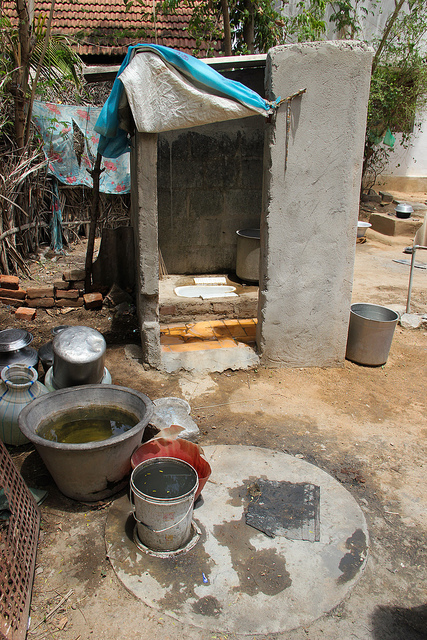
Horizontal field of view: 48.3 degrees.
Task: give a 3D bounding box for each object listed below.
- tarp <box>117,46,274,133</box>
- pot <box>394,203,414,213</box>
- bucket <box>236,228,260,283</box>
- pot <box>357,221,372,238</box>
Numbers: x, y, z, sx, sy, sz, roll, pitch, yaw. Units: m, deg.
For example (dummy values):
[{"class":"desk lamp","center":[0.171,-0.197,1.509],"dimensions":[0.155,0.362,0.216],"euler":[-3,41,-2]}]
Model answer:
[{"class":"tarp","center":[-0.045,-1.911,3.848],"dimensions":[1.316,0.559,1.041],"euler":[0,32,-7]},{"class":"pot","center":[4.626,-2.699,11.577],"dimensions":[0.308,0.174,0.384],"euler":[7,22,13]},{"class":"bucket","center":[0.430,-0.852,6.291],"dimensions":[0.545,0.624,0.592],"euler":[0,21,0]},{"class":"pot","center":[3.357,-2.006,10.704],"dimensions":[0.227,0.415,0.902],"euler":[8,22,16]}]
